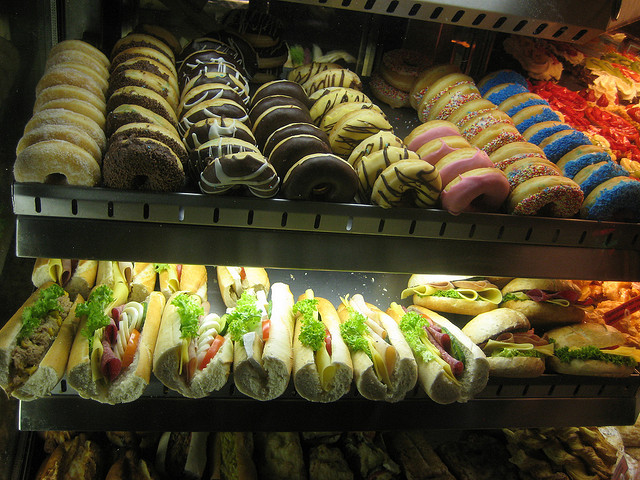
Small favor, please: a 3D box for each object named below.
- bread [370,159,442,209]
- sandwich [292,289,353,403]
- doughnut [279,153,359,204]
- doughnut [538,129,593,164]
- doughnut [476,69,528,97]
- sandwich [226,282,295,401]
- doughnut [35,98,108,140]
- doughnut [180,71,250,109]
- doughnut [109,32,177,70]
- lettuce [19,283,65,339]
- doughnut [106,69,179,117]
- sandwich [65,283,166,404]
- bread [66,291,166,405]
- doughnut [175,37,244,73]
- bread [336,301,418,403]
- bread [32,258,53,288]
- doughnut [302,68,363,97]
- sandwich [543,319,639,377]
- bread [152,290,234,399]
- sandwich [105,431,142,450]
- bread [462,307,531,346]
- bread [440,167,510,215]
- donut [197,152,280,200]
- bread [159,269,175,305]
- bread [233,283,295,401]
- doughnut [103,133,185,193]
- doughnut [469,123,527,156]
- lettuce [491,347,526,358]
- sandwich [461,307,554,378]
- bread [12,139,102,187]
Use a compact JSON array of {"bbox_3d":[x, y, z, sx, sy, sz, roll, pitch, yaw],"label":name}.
[{"bbox_3d":[0.309,-0.189,1.701,0.248,0.178,0.102,1,-2,5],"label":"bread"},{"bbox_3d":[-0.018,0.435,2.078,0.242,0.217,0.558,-7,21,-7],"label":"sandwich"},{"bbox_3d":[0.005,-0.214,1.636,0.198,0.196,0.074,7,43,-30],"label":"doughnut"},{"bbox_3d":[1.032,-0.381,2.014,0.160,0.055,0.164,-19,-28,22],"label":"doughnut"},{"bbox_3d":[0.885,-0.762,2.319,0.178,0.062,0.183,-6,22,-5],"label":"doughnut"},{"bbox_3d":[-0.246,0.403,2.088,0.280,0.235,0.637,-5,21,-3],"label":"sandwich"},{"bbox_3d":[-0.829,-0.438,1.638,0.166,0.057,0.164,24,1,5],"label":"doughnut"},{"bbox_3d":[-0.432,-0.546,1.904,0.246,0.070,0.259,-7,24,15],"label":"doughnut"},{"bbox_3d":[-0.734,-0.788,1.961,0.189,0.189,0.064,-14,35,7],"label":"doughnut"},{"bbox_3d":[-1.048,0.261,1.806,0.072,0.073,0.207,19,37,-1],"label":"lettuce"},{"bbox_3d":[-0.717,-0.538,1.859,0.245,0.087,0.257,-12,2,23],"label":"doughnut"},{"bbox_3d":[-0.801,0.376,1.893,0.277,0.210,0.469,5,32,-14],"label":"sandwich"},{"bbox_3d":[-0.803,0.385,1.942,0.283,0.167,0.513,4,35,-9],"label":"bread"},{"bbox_3d":[-0.473,-0.796,2.049,0.207,0.072,0.173,7,18,-9],"label":"doughnut"},{"bbox_3d":[0.219,0.444,2.119,0.278,0.194,0.552,-9,29,-12],"label":"bread"},{"bbox_3d":[-1.134,0.137,1.926,0.072,0.115,0.034,5,23,-27],"label":"bread"},{"bbox_3d":[0.059,-0.685,2.128,0.191,0.071,0.155,0,9,8],"label":"doughnut"},{"bbox_3d":[1.234,0.492,2.186,0.318,0.118,0.254,3,13,7],"label":"sandwich"},{"bbox_3d":[-0.537,0.407,2.025,0.302,0.191,0.547,12,21,-19],"label":"bread"},{"bbox_3d":[-0.906,0.905,2.206,0.158,0.093,0.113,1,-2,-20],"label":"sandwich"},{"bbox_3d":[0.849,0.398,2.343,0.356,0.115,0.315,-10,-10,-7],"label":"bread"},{"bbox_3d":[0.559,-0.164,1.724,0.192,0.073,0.195,-27,-34,14],"label":"bread"},{"bbox_3d":[-0.265,-0.196,1.569,0.175,0.071,0.173,-4,-20,5],"label":"donut"},{"bbox_3d":[-0.680,0.205,2.120,0.045,0.164,0.051,5,-31,-19],"label":"bread"},{"bbox_3d":[-0.226,0.413,1.965,0.239,0.437,0.332,1,-2,-4],"label":"bread"},{"bbox_3d":[-0.562,-0.241,1.542,0.194,0.200,0.068,1,43,-1],"label":"doughnut"},{"bbox_3d":[0.714,-0.423,1.955,0.167,0.058,0.155,-11,-3,-31],"label":"doughnut"},{"bbox_3d":[0.828,0.495,2.098,0.134,0.035,0.053,0,-2,23],"label":"lettuce"},{"bbox_3d":[0.872,0.477,2.305,0.425,0.297,0.447,1,-10,-7],"label":"sandwich"},{"bbox_3d":[-0.821,-0.216,1.501,0.174,0.061,0.182,18,-44,-22],"label":"bread"}]
